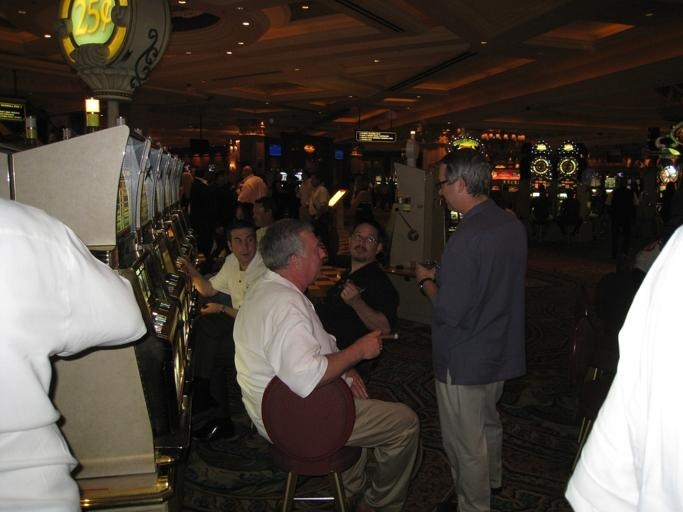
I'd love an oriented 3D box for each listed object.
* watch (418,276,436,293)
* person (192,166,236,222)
[{"bbox_3d":[0.462,0.169,2.759,0.036,0.093,0.090,-6,-28,25],"label":"watch"},{"bbox_3d":[-2.220,-1.034,9.063,0.695,0.919,1.672,-1,8,-12],"label":"person"}]
